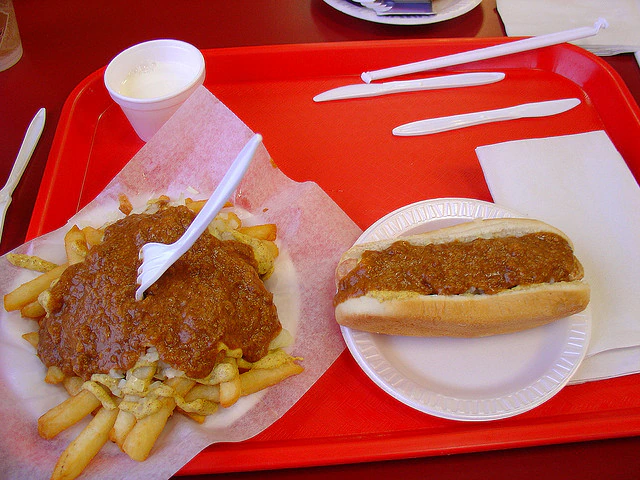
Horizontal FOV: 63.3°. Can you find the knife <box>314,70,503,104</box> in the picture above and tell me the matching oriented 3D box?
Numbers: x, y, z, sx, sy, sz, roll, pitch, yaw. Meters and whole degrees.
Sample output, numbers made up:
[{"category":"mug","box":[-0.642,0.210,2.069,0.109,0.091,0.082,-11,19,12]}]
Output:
[{"category":"knife","box":[0.679,-1.106,3.815,1.734,0.089,0.238,-3,60,2]}]

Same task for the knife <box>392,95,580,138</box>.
[{"category":"knife","box":[1.183,-0.854,3.674,1.517,0.071,0.187,-9,63,0]}]
